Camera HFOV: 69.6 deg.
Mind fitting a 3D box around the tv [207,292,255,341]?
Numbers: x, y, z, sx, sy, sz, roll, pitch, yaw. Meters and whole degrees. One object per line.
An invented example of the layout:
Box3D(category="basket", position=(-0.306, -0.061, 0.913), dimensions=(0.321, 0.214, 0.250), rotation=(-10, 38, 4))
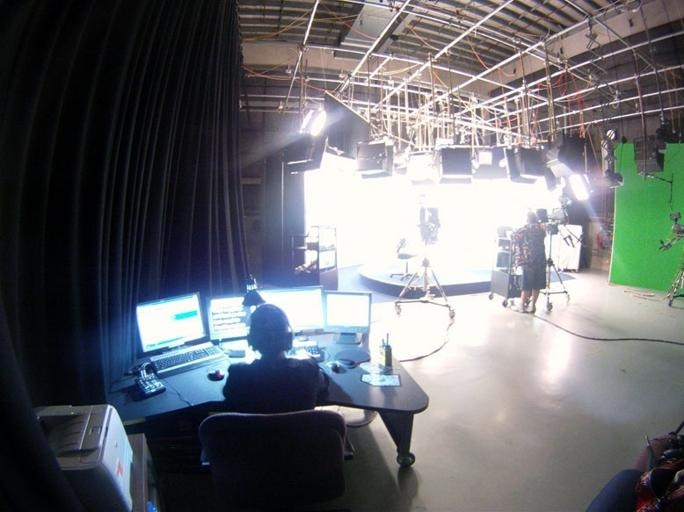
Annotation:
Box3D(category="tv", position=(-1.039, 0.528, 4.731), dimensions=(0.577, 0.612, 0.335), rotation=(0, 3, -14))

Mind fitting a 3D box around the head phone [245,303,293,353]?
Box3D(category="head phone", position=(-0.528, 0.528, 3.618), dimensions=(0.250, 0.287, 0.354), rotation=(2, -30, -6))

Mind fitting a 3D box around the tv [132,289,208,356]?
Box3D(category="tv", position=(-1.539, 0.607, 4.354), dimensions=(0.482, 0.402, 0.116), rotation=(-14, 8, -39))

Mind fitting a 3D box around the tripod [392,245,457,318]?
Box3D(category="tripod", position=(1.388, 0.501, 8.191), dimensions=(0.898, 1.477, 1.084), rotation=(0, 0, 0))

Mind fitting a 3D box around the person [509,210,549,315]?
Box3D(category="person", position=(2.890, 0.077, 7.544), dimensions=(0.504, 1.544, 0.398), rotation=(-6, 9, -33))

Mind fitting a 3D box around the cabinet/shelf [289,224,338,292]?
Box3D(category="cabinet/shelf", position=(-0.476, 0.041, 8.736), dimensions=(0.783, 1.149, 1.736), rotation=(-2, 8, -3))

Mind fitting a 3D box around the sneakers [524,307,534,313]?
Box3D(category="sneakers", position=(2.895, 0.830, 7.608), dimensions=(0.055, 0.075, 0.164), rotation=(2, 4, 7))

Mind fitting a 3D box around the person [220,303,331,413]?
Box3D(category="person", position=(-0.424, 0.759, 3.770), dimensions=(0.760, 1.261, 0.629), rotation=(0, 12, 2))

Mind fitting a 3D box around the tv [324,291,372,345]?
Box3D(category="tv", position=(0.047, 0.582, 4.685), dimensions=(0.443, 0.519, 0.203), rotation=(0, -2, 5))
